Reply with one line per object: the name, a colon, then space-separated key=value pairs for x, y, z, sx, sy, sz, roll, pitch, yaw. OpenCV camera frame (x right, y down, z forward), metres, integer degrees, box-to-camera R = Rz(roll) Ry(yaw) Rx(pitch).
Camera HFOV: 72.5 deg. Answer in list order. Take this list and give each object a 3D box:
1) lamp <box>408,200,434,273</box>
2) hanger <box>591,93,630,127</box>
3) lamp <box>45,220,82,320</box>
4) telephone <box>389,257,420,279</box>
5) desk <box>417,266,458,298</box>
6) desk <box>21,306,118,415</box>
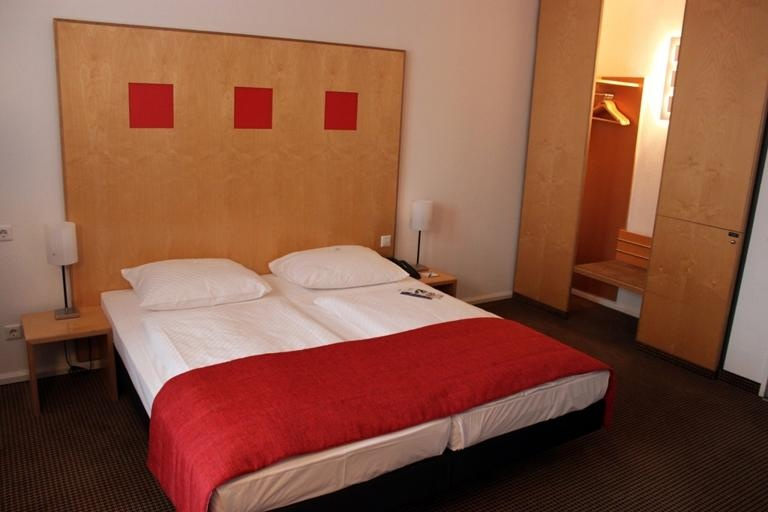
lamp: x=0.350 y=-0.223 z=5.095 sx=0.188 sy=0.670 sz=0.330 roll=0 pitch=20 yaw=-1
hanger: x=2.412 y=-1.580 z=5.577 sx=0.113 sy=0.187 sz=0.388 roll=-14 pitch=24 yaw=-22
lamp: x=-2.360 y=0.081 z=3.909 sx=0.219 sy=0.677 sz=0.325 roll=-6 pitch=21 yaw=-18
telephone: x=0.189 y=0.086 z=4.899 sx=0.254 sy=0.074 sz=0.185 roll=35 pitch=20 yaw=33
desk: x=0.485 y=0.205 z=4.991 sx=0.361 sy=0.252 sz=0.268 roll=-9 pitch=21 yaw=-28
desk: x=-2.269 y=0.663 z=4.019 sx=0.727 sy=0.682 sz=0.744 roll=-5 pitch=11 yaw=-28
